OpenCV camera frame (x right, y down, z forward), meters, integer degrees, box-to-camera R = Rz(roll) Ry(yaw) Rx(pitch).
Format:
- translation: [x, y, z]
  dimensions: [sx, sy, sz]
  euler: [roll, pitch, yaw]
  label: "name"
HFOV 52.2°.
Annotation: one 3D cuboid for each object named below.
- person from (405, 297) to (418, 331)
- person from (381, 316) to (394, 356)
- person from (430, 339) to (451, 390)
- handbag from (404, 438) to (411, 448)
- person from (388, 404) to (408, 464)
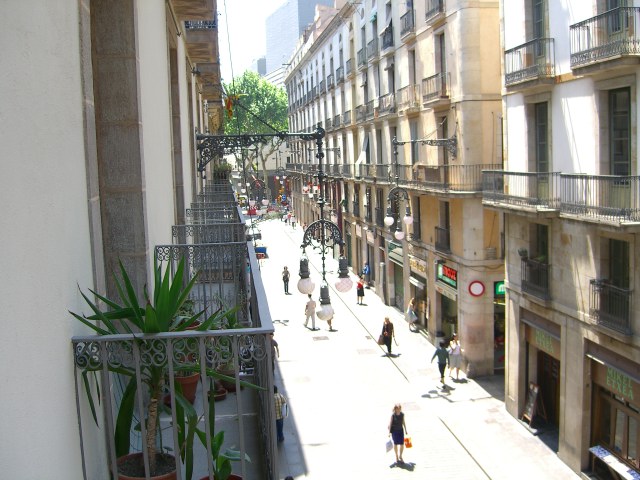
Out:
- translation: [3.928, 3.153, 27.573]
  dimensions: [0.440, 1.425, 1.254]
  euler: [2, 6, 10]
  label: "person"
- translation: [2.523, 3.521, 24.574]
  dimensions: [0.450, 1.432, 1.361]
  euler: [1, 6, 5]
  label: "person"
- translation: [4.087, 4.263, 21.993]
  dimensions: [0.813, 2.314, 0.769]
  euler: [-1, 33, 4]
  label: "person"
- translation: [2.134, 4.902, 15.736]
  dimensions: [0.165, 0.119, 0.303]
  euler: [0, -9, -2]
  label: "handbag"
- translation: [1.928, 4.703, 16.055]
  dimensions: [0.432, 1.525, 1.147]
  euler: [1, 6, 8]
  label: "person"
